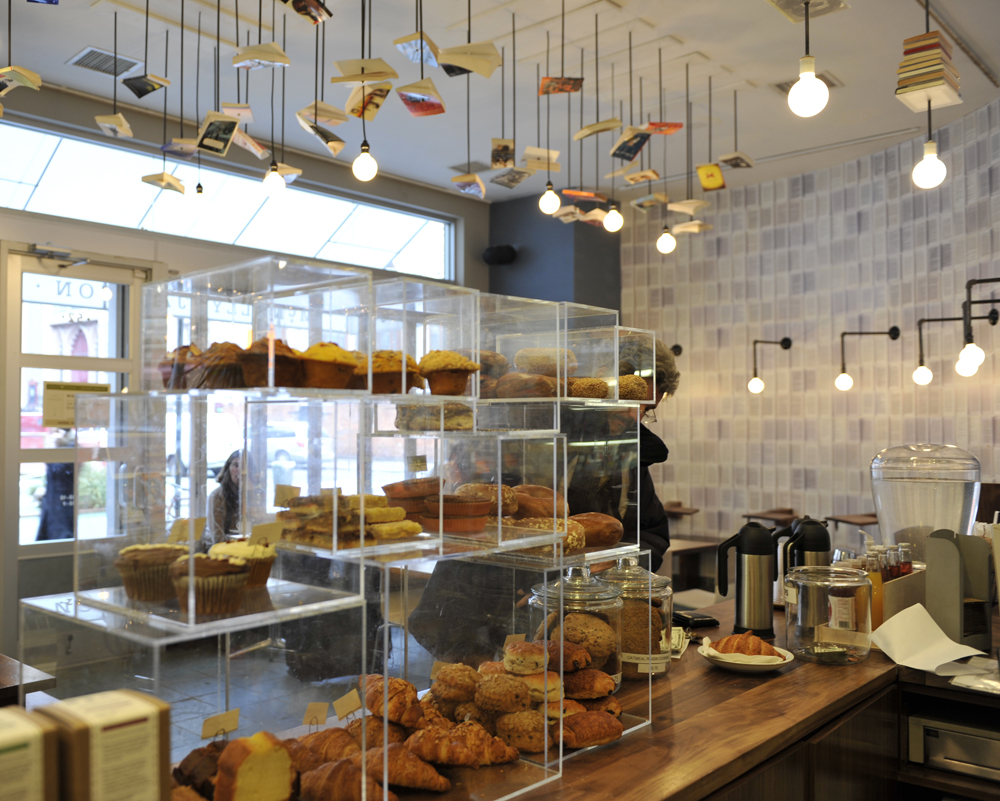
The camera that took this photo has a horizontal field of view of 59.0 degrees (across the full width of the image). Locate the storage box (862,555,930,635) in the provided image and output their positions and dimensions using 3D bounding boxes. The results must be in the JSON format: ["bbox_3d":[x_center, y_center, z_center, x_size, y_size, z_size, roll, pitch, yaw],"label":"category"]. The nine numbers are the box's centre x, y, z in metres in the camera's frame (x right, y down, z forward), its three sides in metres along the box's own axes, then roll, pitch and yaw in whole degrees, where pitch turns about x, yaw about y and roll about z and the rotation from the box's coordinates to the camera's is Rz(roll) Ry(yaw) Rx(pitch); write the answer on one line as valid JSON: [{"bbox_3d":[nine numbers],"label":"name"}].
[{"bbox_3d":[1.311,0.631,2.887,0.294,0.193,0.157,1,-2,-36],"label":"storage box"}]

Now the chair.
[{"bbox_3d":[-0.323,0.418,1.721,0.201,0.264,0.163,-1,-4,-8],"label":"chair"}]

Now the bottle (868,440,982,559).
[{"bbox_3d":[1.458,0.358,3.235,0.410,0.418,0.388,1,-6,-1],"label":"bottle"}]

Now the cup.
[{"bbox_3d":[0.940,0.640,2.678,0.285,0.256,0.251,-1,-3,2],"label":"cup"}]

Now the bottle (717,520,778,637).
[{"bbox_3d":[0.813,0.581,2.888,0.177,0.374,0.307,-3,-4,17],"label":"bottle"}]

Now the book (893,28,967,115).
[{"bbox_3d":[1.481,-1.137,3.065,0.176,0.237,0.275,-5,-5,31],"label":"book"}]
